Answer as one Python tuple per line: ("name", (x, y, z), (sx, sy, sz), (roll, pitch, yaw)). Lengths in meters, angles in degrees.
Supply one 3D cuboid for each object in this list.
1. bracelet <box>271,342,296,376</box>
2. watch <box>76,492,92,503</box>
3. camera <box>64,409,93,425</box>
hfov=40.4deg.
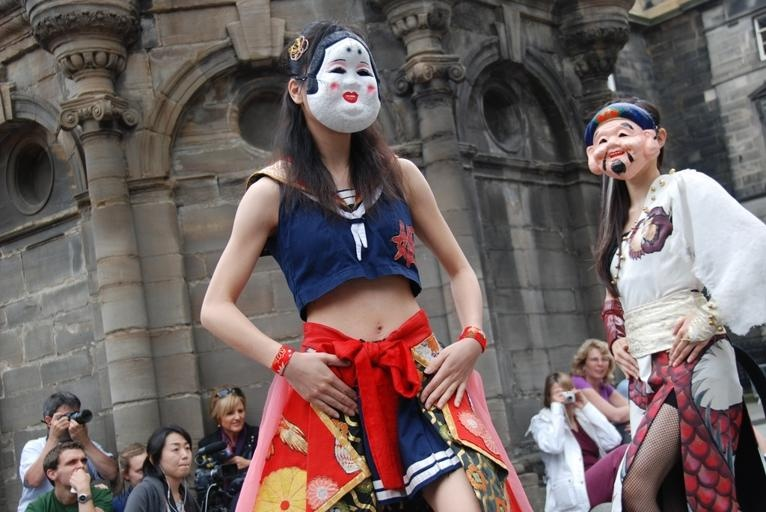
("bracelet", (-0.671, 0.680, 6.928), (0.167, 0.209, 0.168), (-7, -17, -3))
("watch", (-2.858, 2.279, 9.922), (0.116, 0.061, 0.100), (-12, 1, -18))
("camera", (-3.192, 1.646, 10.795), (0.296, 0.175, 0.196), (1, 6, 34))
